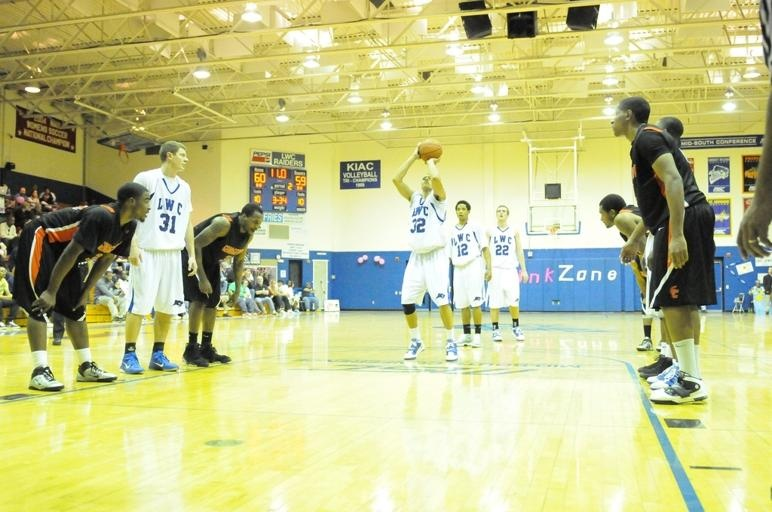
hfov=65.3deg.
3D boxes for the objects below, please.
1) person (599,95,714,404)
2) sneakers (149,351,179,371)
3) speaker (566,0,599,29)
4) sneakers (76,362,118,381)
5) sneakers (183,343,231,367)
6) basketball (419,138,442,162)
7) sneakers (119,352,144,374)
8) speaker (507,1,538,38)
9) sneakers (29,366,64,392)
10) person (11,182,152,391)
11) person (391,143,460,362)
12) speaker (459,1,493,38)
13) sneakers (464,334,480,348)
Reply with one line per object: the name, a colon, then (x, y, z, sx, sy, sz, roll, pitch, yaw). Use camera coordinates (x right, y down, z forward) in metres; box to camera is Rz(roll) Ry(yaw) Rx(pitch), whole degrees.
person: (2.172, -0.101, 4.707, 0.675, 2.411, 0.886, -3, -4, 27)
sneakers: (-2.108, 1.007, 5.838, 0.313, 0.154, 0.145, 1, -1, 20)
speaker: (4.133, -4.992, 12.712, 0.611, 0.419, 0.599, -2, -3, 16)
sneakers: (-2.526, 1.014, 5.329, 0.422, 0.203, 0.146, 1, -1, 0)
sneakers: (-1.769, 1.003, 6.215, 0.581, 0.232, 0.200, 1, 3, -17)
basketball: (0.486, -1.193, 6.770, 0.265, 0.287, 0.243, -1, -3, 2)
sneakers: (-2.359, 0.999, 5.625, 0.119, 0.157, 0.338, 5, -8, -35)
speaker: (2.802, -4.834, 12.433, 0.641, 0.475, 0.641, 1, 2, 7)
sneakers: (-2.751, 0.988, 4.888, 0.316, 0.191, 0.132, -2, -4, 27)
person: (-2.515, 0.233, 5.022, 0.972, 1.701, 0.645, 0, -4, -15)
person: (0.442, -0.046, 6.835, 0.678, 2.400, 0.646, -1, -4, 7)
speaker: (1.877, -5.066, 12.852, 0.619, 0.544, 1.110, -2, -3, 13)
sneakers: (1.211, 1.188, 8.520, 0.124, 0.138, 0.353, -2, -16, 8)
